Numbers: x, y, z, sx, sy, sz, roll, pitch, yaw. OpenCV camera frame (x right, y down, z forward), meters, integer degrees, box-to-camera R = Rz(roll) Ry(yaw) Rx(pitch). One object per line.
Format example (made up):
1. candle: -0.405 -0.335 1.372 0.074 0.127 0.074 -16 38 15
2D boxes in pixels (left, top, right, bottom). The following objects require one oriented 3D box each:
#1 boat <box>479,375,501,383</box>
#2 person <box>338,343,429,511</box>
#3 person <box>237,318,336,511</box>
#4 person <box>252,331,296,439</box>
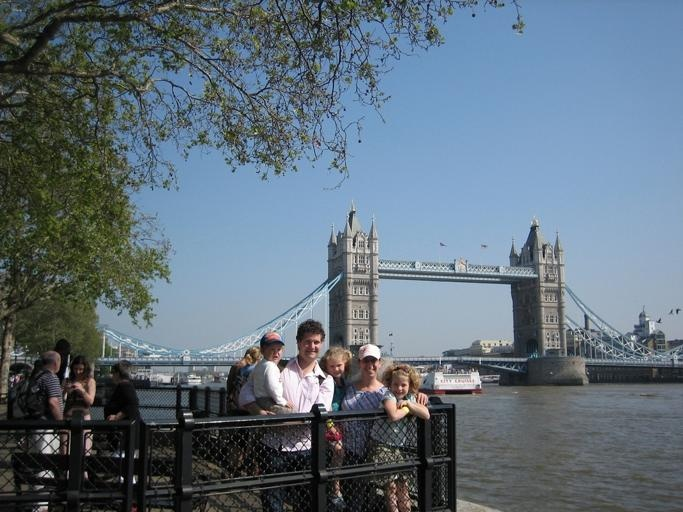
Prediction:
1. boat: 24.590 20.335 128.314 2.469 1.590 9.747 -2 -10 8
2. person: 0.444 2.164 9.969 0.937 2.086 0.938 -1 -9 0
3. person: -0.649 1.963 9.786 1.097 2.366 0.878 0 -9 -2
4. person: -0.872 1.549 10.135 0.592 1.094 0.565 11 -12 -26
